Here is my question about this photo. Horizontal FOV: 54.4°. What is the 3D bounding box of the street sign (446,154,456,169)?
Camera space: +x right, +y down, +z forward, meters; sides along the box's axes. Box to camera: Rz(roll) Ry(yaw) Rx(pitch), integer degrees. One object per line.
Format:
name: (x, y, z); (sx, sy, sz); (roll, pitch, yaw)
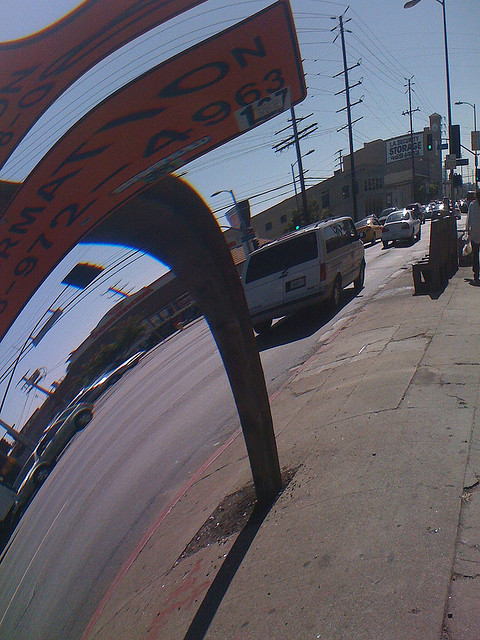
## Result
street sign: (10.513, -7.893, 23.310); (0.469, 0.748, 1.265); (-13, 14, 26)

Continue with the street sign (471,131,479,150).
street sign: (17.658, -13.485, 35.210); (0.457, 1.247, 1.210); (-10, 15, 34)

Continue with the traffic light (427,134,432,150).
traffic light: (10.651, -10.032, 26.397); (0.272, 0.766, 1.628); (-13, 14, 24)

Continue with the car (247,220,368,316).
car: (1.802, -1.181, 11.722); (1.669, 2.317, 3.865); (-10, 16, 36)
